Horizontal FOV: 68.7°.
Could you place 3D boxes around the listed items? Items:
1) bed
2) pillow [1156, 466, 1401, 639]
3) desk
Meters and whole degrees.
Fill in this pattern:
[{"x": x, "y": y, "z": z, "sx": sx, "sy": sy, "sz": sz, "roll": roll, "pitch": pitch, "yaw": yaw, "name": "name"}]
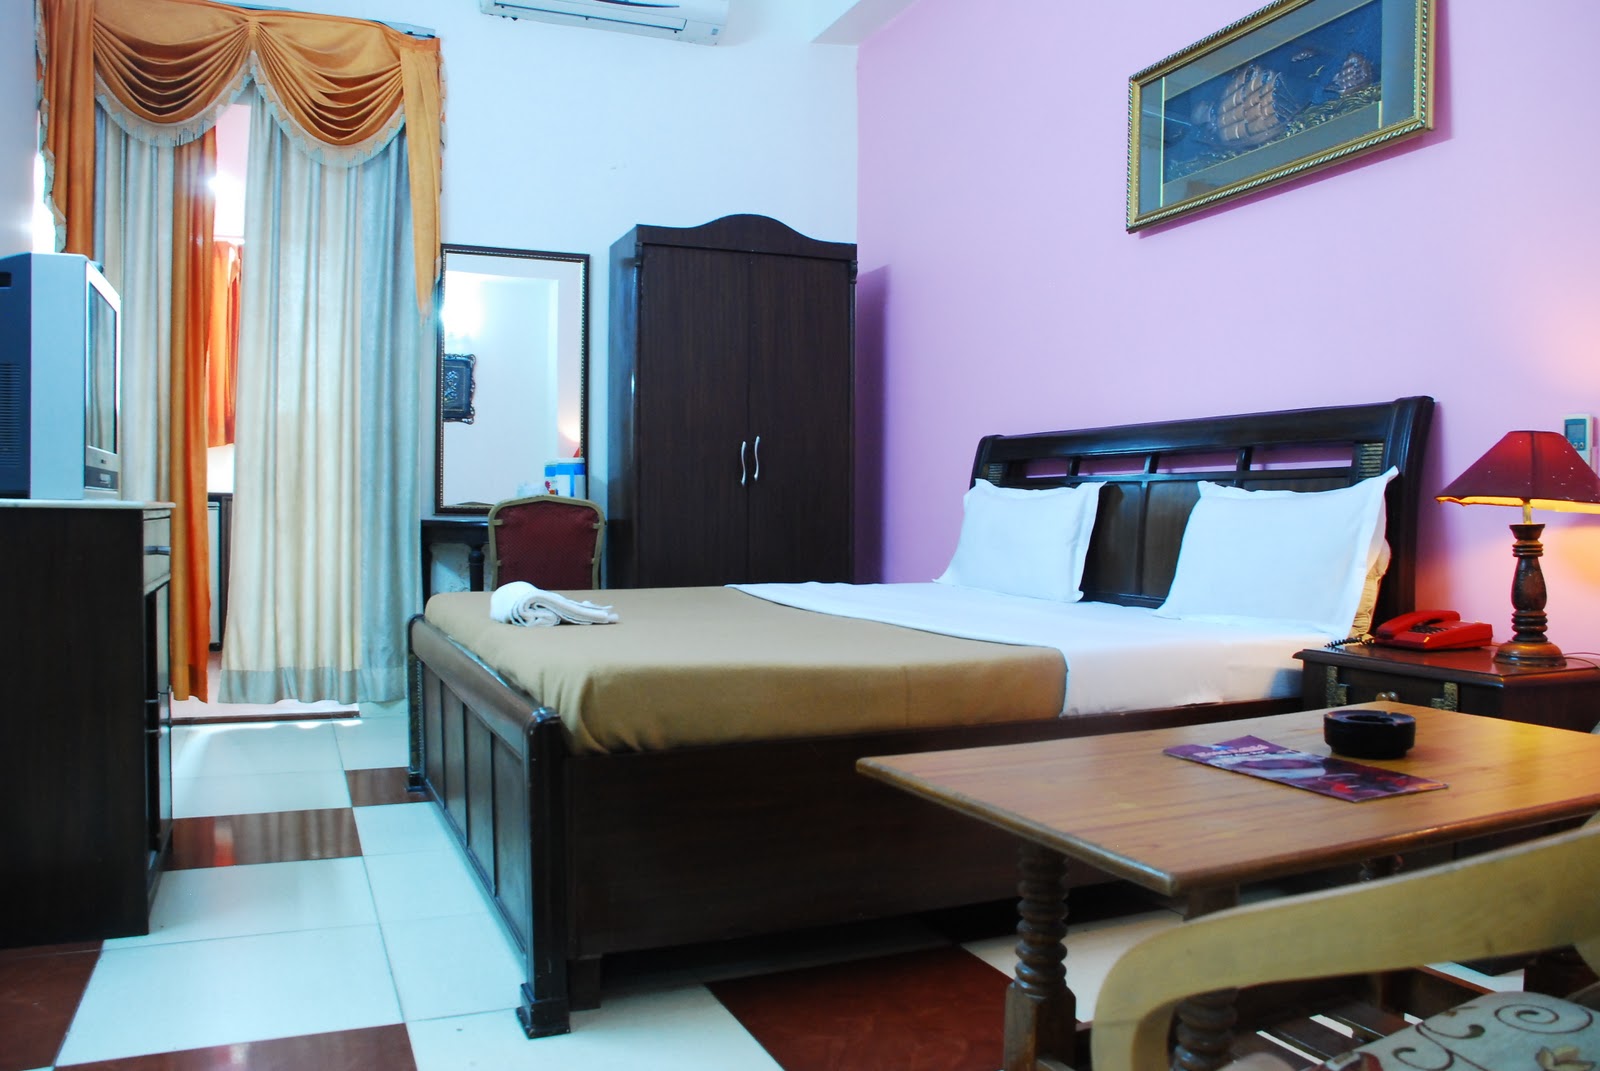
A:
[{"x": 0.198, "y": 0.698, "z": 3.621, "sx": 2.165, "sy": 1.212, "sz": 2.155, "roll": 0, "pitch": 2, "yaw": -21, "name": "bed"}, {"x": 1.569, "y": 0.066, "z": 3.755, "sx": 0.087, "sy": 0.430, "sz": 0.574, "roll": 26, "pitch": -14, "yaw": -29, "name": "pillow"}, {"x": -1.545, "y": 0.196, "z": 5.556, "sx": 0.505, "sy": 0.498, "sz": 0.524, "roll": 0, "pitch": 0, "yaw": -18, "name": "desk"}]
